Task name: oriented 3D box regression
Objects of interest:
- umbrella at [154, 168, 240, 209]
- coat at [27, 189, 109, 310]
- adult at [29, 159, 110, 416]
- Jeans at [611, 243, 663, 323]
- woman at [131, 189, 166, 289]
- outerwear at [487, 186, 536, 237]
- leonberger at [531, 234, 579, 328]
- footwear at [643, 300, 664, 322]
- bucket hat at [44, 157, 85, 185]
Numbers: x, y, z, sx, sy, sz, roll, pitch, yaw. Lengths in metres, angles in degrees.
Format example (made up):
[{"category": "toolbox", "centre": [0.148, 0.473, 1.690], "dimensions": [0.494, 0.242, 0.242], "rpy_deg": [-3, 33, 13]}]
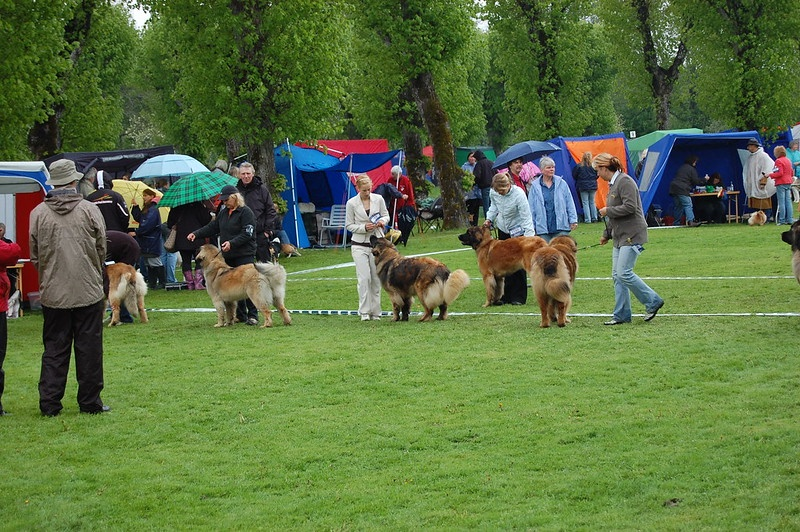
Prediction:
[{"category": "umbrella", "centre": [-4.480, -1.699, 18.410], "dimensions": [1.575, 0.810, 1.111], "rpy_deg": [-3, 1, -30]}, {"category": "coat", "centre": [-4.532, -0.240, 11.411], "dimensions": [0.935, 1.717, 0.384], "rpy_deg": [-3, 1, -25]}, {"category": "adult", "centre": [-4.567, 0.215, 11.696], "dimensions": [0.984, 3.297, 0.936], "rpy_deg": [-1, 1, -43]}, {"category": "Jeans", "centre": [3.790, 0.295, 13.790], "dimensions": [0.735, 1.091, 0.521], "rpy_deg": [-3, 1, -25]}, {"category": "woman", "centre": [-5.946, -0.632, 19.659], "dimensions": [0.798, 2.384, 0.744], "rpy_deg": [-2, 5, -17]}, {"category": "outerwear", "centre": [2.097, -1.077, 15.891], "dimensions": [0.609, 0.913, 1.154], "rpy_deg": [-24, 29, -38]}, {"category": "leonberger", "centre": [2.566, 0.289, 14.174], "dimensions": [0.660, 1.368, 0.971], "rpy_deg": [-3, 1, 21]}, {"category": "footwear", "centre": [4.173, 0.772, 13.901], "dimensions": [0.218, 0.186, 0.510], "rpy_deg": [8, -46, -10]}, {"category": "bucket hat", "centre": [-4.689, -1.344, 11.697], "dimensions": [0.379, 0.215, 0.409], "rpy_deg": [-4, 15, -5]}]
